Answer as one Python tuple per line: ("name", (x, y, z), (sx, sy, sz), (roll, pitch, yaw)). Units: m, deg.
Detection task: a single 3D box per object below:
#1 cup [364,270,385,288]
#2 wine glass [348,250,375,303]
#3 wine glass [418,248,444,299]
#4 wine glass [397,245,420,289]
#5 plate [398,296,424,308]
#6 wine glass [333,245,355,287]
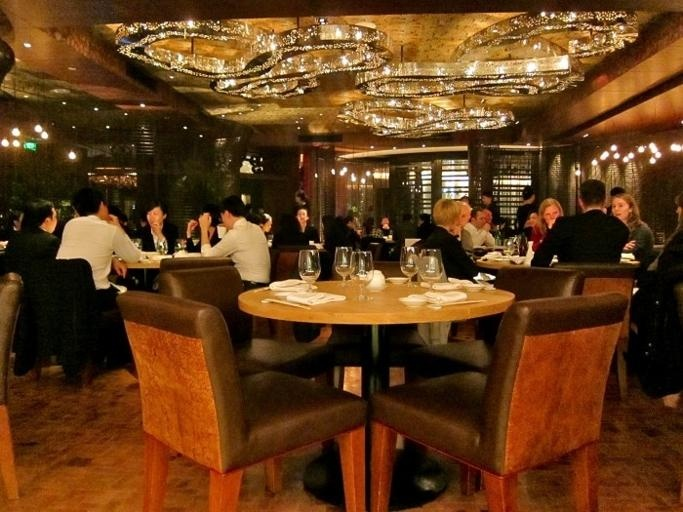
("cup", (0.193, 0.127, 3.163), (0.103, 0.075, 0.099), (0, -5, 0))
("wine glass", (0.110, 0.103, 3.046), (0.186, 0.269, 0.177), (-3, 9, -13))
("wine glass", (0.474, 0.088, 3.021), (0.145, 0.230, 0.139), (1, 5, 10))
("wine glass", (0.369, 0.033, 3.111), (0.088, 0.167, 0.152), (1, 6, 7))
("plate", (0.354, 0.213, 2.794), (0.126, 0.039, 0.150), (-1, 5, -9))
("wine glass", (0.008, 0.060, 3.032), (0.166, 0.191, 0.162), (-2, -10, 18))
